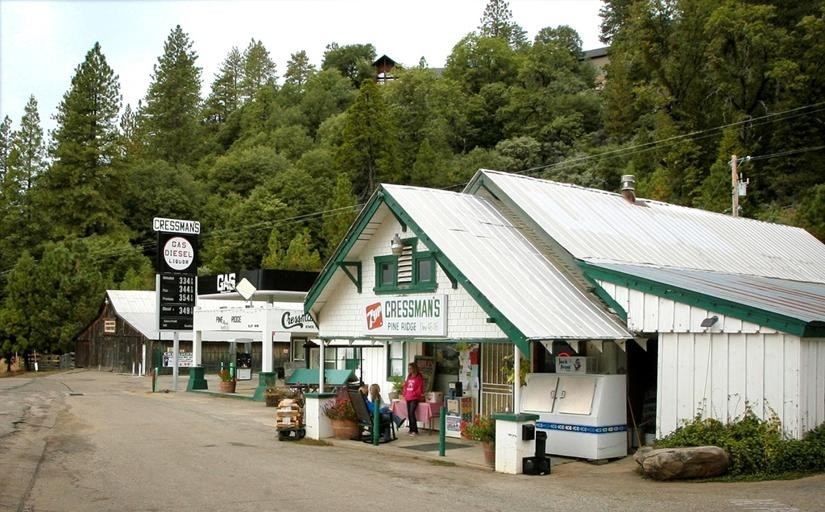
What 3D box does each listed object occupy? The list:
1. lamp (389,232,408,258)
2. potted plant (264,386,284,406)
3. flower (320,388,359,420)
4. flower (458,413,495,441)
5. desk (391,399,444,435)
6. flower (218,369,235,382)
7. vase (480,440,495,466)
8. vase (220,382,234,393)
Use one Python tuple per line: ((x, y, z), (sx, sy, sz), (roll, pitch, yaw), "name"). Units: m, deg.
((-0.568, -0.505, 37.138), (0.470, 0.953, 0.501), (-8, -12, 43), "lamp")
((-7.129, 7.327, 46.620), (0.903, 0.627, 0.876), (0, 3, -13), "potted plant")
((-2.986, 6.206, 37.657), (1.325, 0.881, 1.311), (2, -7, -21), "flower")
((2.652, 6.677, 34.848), (1.447, 0.937, 1.285), (2, -9, -6), "flower")
((0.336, 6.872, 39.367), (2.257, 1.041, 1.490), (0, 0, 32), "desk")
((-10.568, 6.920, 51.795), (0.776, 0.789, 0.806), (1, -5, -4), "flower")
((2.977, 7.569, 34.289), (0.773, 0.777, 0.757), (1, -16, -2), "vase")
((-10.484, 7.548, 51.510), (0.684, 0.400, 0.667), (3, -6, -10), "vase")
